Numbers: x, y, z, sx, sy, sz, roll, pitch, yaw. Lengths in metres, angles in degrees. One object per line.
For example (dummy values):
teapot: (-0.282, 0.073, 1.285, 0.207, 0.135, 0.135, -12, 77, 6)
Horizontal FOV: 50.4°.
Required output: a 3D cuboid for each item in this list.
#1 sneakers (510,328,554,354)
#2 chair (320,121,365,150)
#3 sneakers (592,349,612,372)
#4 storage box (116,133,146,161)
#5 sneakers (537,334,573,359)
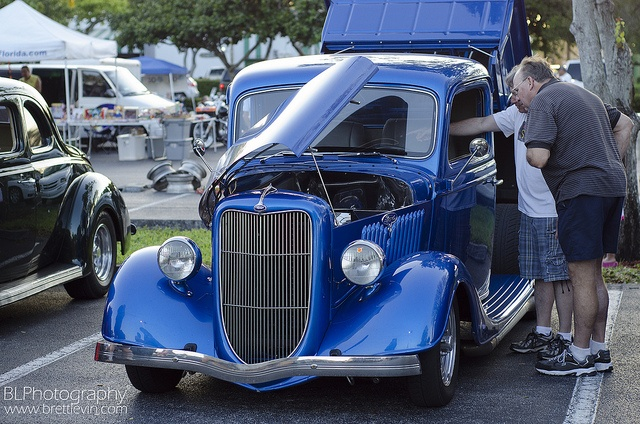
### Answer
sneakers: (2.087, 1.280, 6.774, 0.449, 0.267, 0.194, -2, 2, 6)
chair: (0.226, -0.733, 6.512, 0.256, 0.391, 0.411, 2, 5, 8)
sneakers: (2.615, 1.378, 6.313, 0.095, 0.139, 0.269, -3, 9, 6)
storage box: (-5.722, -1.936, 20.776, 0.768, 0.978, 1.290, -2, 7, -7)
sneakers: (2.200, 1.264, 6.375, 0.373, 0.208, 0.141, -17, 9, -26)
